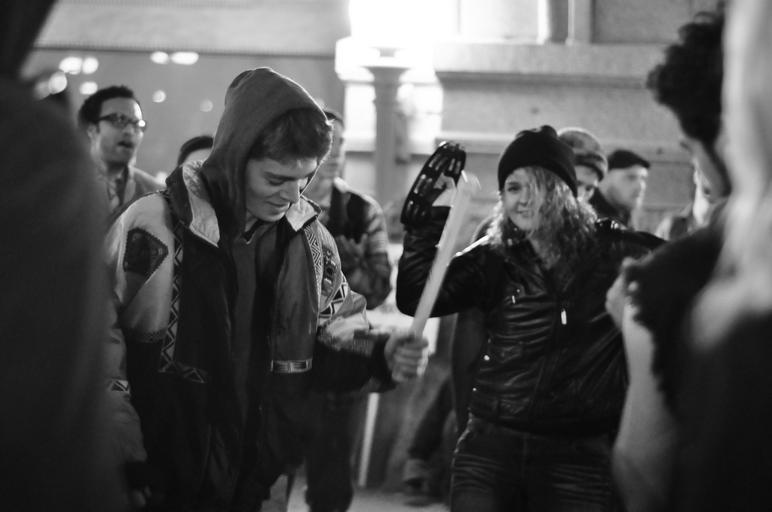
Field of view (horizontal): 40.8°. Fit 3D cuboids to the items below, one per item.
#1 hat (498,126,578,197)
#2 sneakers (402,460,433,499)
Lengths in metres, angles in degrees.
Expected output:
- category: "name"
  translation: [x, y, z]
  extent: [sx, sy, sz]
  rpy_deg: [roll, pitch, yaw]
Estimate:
- category: "hat"
  translation: [0.470, -0.307, 3.380]
  extent: [0.213, 0.191, 0.226]
  rpy_deg: [13, -28, -28]
- category: "sneakers"
  translation: [0.107, 0.725, 3.340]
  extent: [0.094, 0.130, 0.073]
  rpy_deg: [4, -33, -7]
